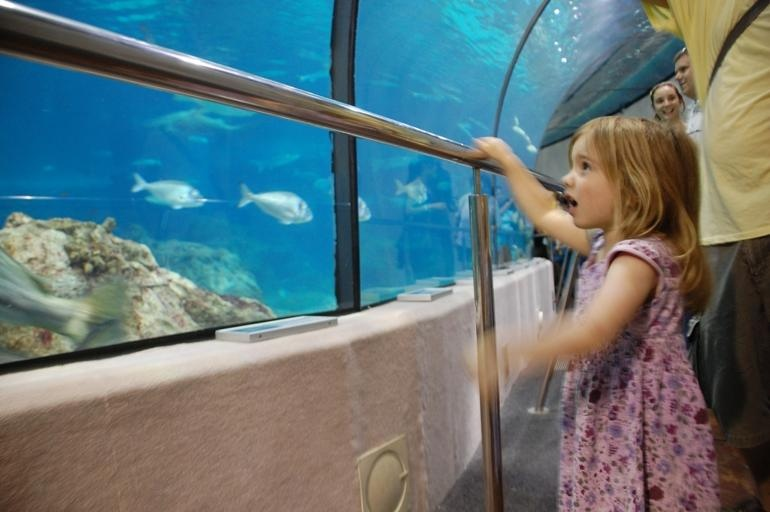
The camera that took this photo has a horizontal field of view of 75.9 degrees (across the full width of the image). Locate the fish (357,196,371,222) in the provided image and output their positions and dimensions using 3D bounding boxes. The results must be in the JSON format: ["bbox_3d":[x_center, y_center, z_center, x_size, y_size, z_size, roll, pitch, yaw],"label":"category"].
[{"bbox_3d":[-0.099,-0.215,2.286,0.040,0.113,0.110,8,30,15],"label":"fish"}]

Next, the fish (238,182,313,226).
[{"bbox_3d":[-0.418,-0.191,1.896,0.323,0.142,0.073,20,-8,-43],"label":"fish"}]
